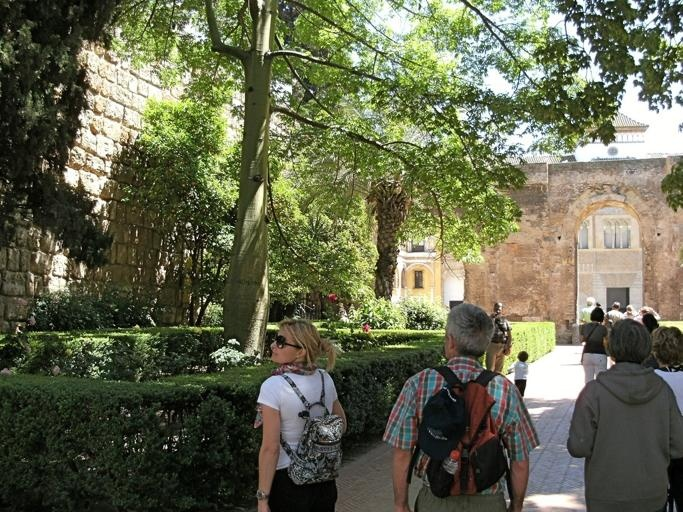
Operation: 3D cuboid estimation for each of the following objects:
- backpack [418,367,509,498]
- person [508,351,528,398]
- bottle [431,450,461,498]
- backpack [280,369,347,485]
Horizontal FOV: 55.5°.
[{"bbox_3d":[0.764,1.167,4.257,0.682,0.796,0.436,1,6,15],"label":"backpack"},{"bbox_3d":[3.229,2.136,11.678,0.297,0.935,0.277,16,23,41],"label":"person"},{"bbox_3d":[0.675,1.388,4.166,0.113,0.107,0.290,29,-32,6],"label":"bottle"},{"bbox_3d":[-0.256,1.283,4.937,0.493,0.699,0.726,8,5,-16],"label":"backpack"}]
